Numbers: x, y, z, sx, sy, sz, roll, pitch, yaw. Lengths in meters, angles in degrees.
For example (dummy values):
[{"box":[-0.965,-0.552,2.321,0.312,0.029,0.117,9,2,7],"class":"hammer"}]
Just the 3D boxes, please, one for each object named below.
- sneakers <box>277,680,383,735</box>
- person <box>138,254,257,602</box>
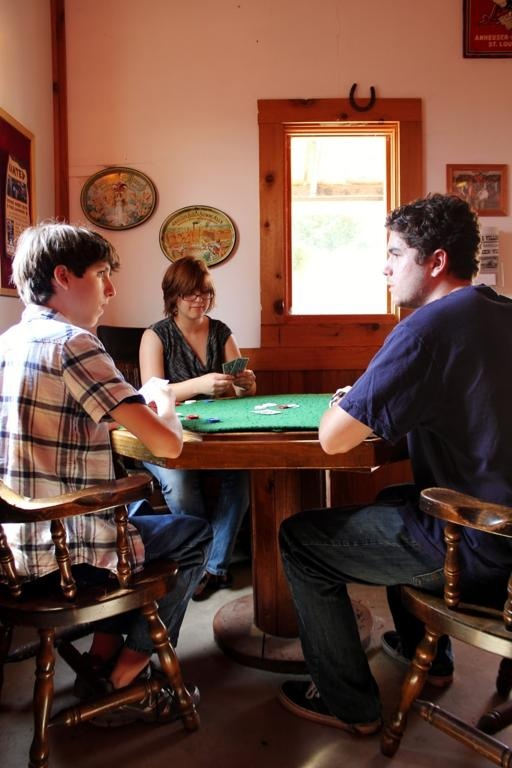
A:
[{"box":[0.197,0.824,1.585,0.094,0.096,0.226,-1,12,-43],"class":"sneakers"},{"box":[-0.193,0.176,2.574,0.575,1.367,0.546,1,10,-17],"class":"person"}]
